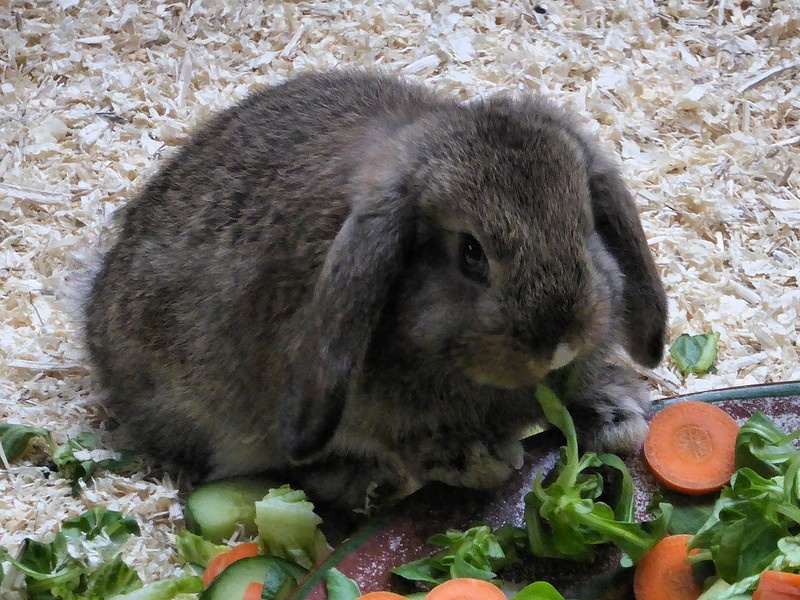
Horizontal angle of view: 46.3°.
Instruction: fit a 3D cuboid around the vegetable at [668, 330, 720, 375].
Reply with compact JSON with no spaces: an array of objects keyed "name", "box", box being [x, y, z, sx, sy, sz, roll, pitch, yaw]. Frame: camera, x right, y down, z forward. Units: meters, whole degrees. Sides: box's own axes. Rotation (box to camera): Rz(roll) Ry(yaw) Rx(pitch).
[{"name":"vegetable","box":[1.247,0.226,3.966,0.219,0.051,0.236,20,54,8]}]
